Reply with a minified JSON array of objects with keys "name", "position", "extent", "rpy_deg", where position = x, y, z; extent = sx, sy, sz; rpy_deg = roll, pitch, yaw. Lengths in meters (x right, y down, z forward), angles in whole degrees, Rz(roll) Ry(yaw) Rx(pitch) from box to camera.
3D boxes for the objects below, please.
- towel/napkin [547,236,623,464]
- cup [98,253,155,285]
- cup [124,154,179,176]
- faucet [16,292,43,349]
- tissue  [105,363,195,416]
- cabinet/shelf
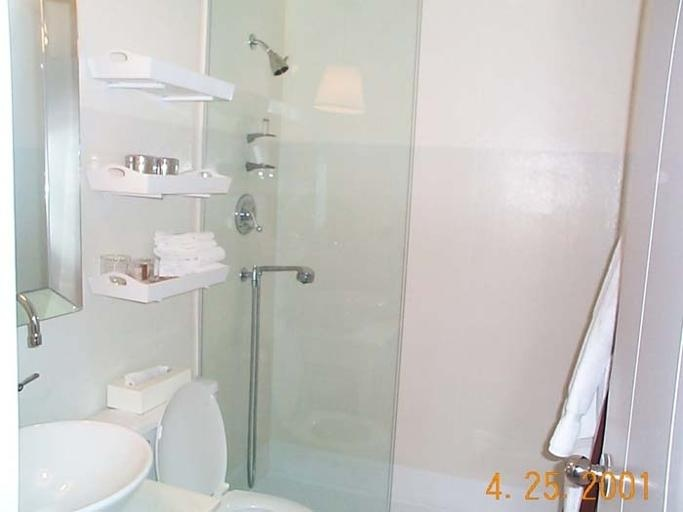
[{"name":"towel/napkin","position":[0.853,0.343,1.984],"extent":[0.153,0.792,0.398],"rpy_deg":[7,11,25]},{"name":"cup","position":[-0.728,0.044,1.987],"extent":[0.086,0.068,0.152],"rpy_deg":[4,5,18]},{"name":"cup","position":[-0.684,-0.312,2.024],"extent":[0.142,0.057,0.084],"rpy_deg":[-1,8,-40]},{"name":"faucet","position":[-0.690,0.136,1.258],"extent":[0.038,0.125,0.080],"rpy_deg":[-3,12,-30]},{"name":"tissue ","position":[-0.686,0.466,2.104],"extent":[0.153,0.124,0.326],"rpy_deg":[8,12,29]},{"name":"cabinet/shelf","position":[-0.631,-0.279,2.036],"extent":[0.538,0.834,0.336],"rpy_deg":[-6,13,-38]}]
